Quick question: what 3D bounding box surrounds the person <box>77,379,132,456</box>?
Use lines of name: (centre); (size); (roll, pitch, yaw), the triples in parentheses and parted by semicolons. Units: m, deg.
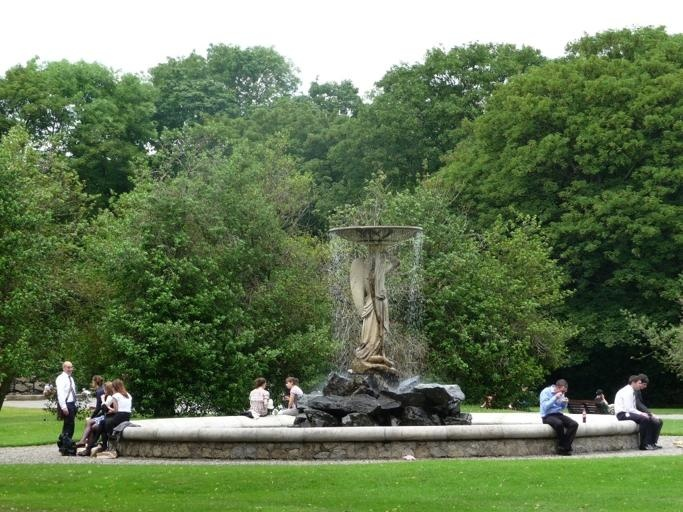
person: (-7.071, 4.921, 33.515); (1.260, 2.294, 0.625); (-4, -8, 25)

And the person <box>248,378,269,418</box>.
person: (-2.715, 4.773, 36.967); (0.671, 1.350, 0.994); (1, -8, -5)

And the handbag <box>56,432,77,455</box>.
handbag: (-8.300, 5.758, 33.423); (0.441, 0.701, 0.714); (3, -21, -8)

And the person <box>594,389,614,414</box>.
person: (9.693, 5.349, 40.611); (0.760, 0.959, 2.336); (-3, -13, 10)
